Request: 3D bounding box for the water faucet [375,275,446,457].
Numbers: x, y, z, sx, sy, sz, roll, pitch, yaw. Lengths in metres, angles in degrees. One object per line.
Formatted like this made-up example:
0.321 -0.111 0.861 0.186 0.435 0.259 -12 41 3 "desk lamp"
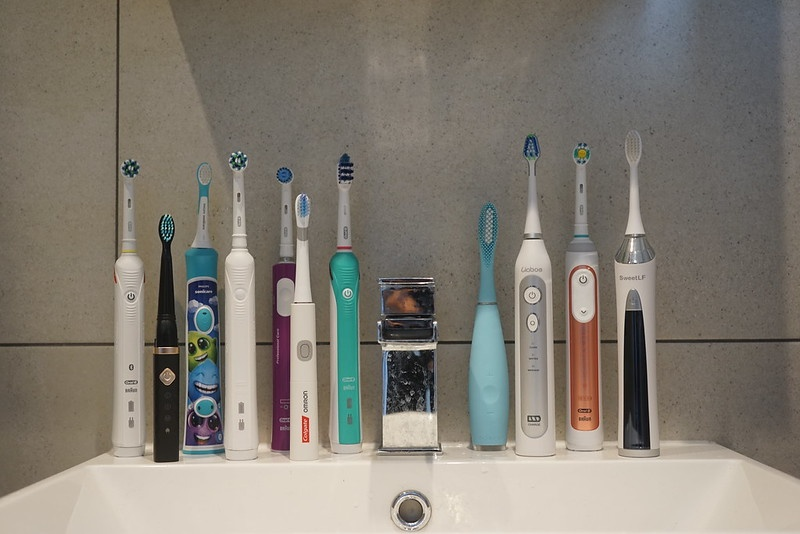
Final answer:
0.014 0.154 1.411 0.093 0.250 0.103 -1 -24 1 "water faucet"
